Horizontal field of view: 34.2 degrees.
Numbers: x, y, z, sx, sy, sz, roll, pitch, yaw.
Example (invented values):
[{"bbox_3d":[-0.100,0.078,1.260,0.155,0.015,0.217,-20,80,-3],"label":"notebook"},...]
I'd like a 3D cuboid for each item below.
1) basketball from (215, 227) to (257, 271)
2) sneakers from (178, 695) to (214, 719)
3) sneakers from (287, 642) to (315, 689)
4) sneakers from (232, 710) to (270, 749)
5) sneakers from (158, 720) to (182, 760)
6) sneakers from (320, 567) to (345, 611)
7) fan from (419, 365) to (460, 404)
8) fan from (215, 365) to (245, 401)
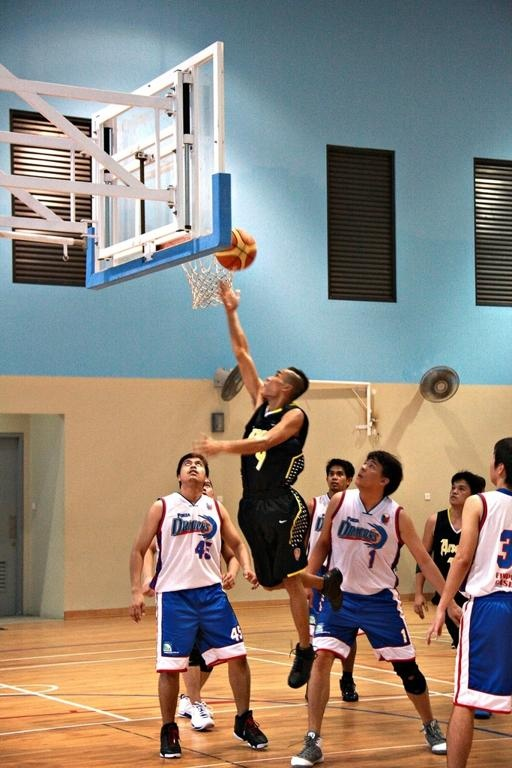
[{"bbox_3d":[-0.092,-0.685,4.236,0.207,0.251,0.206,-6,46,-13],"label":"basketball"},{"bbox_3d":[-0.317,1.615,4.161,0.104,0.112,0.253,6,-17,-32],"label":"sneakers"},{"bbox_3d":[0.170,1.117,3.264,0.072,0.223,0.090,2,-33,18],"label":"sneakers"},{"bbox_3d":[-0.028,1.473,3.553,0.078,0.136,0.218,-4,-1,-33],"label":"sneakers"},{"bbox_3d":[-0.334,1.416,3.310,0.081,0.140,0.139,1,3,-7],"label":"sneakers"},{"bbox_3d":[0.316,0.857,3.410,0.081,0.186,0.062,-10,16,-15],"label":"sneakers"},{"bbox_3d":[2.287,0.010,10.475,0.545,0.464,0.409,4,4,38],"label":"fan"},{"bbox_3d":[-0.287,-0.004,9.077,0.194,0.379,0.368,4,-5,37],"label":"fan"}]
